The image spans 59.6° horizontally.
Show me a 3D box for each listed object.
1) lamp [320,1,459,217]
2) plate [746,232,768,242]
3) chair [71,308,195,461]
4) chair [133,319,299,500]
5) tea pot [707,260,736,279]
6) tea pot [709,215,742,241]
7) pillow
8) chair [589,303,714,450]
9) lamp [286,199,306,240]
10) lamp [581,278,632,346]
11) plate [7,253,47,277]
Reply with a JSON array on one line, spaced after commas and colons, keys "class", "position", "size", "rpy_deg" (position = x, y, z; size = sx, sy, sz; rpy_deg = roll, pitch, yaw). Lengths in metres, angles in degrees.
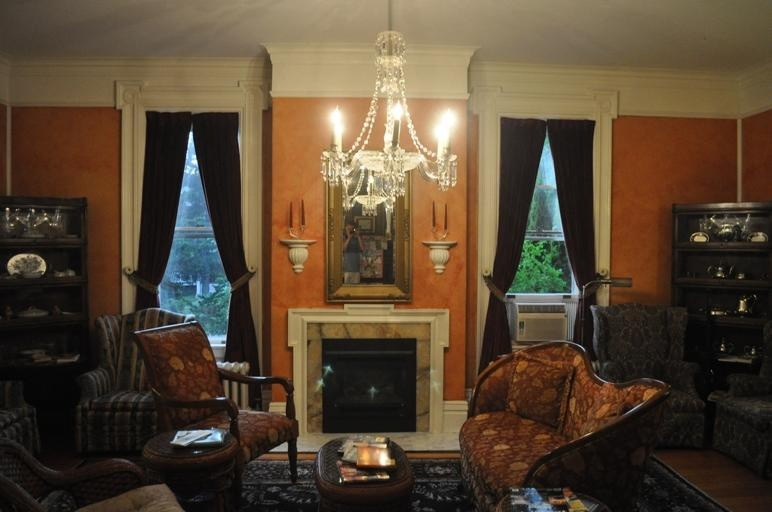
[{"class": "lamp", "position": [0.050, -1.585, 7.082], "size": [1.410, 2.276, 2.183], "rpy_deg": [-1, 3, -5]}, {"class": "plate", "position": [4.515, -0.223, 8.180], "size": [0.203, 0.125, 0.196], "rpy_deg": [1, 3, 22]}, {"class": "chair", "position": [-2.882, 1.418, 7.942], "size": [1.124, 1.573, 0.988], "rpy_deg": [3, -1, -1]}, {"class": "chair", "position": [-1.748, 1.566, 7.473], "size": [1.693, 2.437, 1.588], "rpy_deg": [-3, -2, 24]}, {"class": "tea pot", "position": [4.193, 0.177, 8.405], "size": [0.265, 0.186, 0.203], "rpy_deg": [-1, -3, 13]}, {"class": "tea pot", "position": [4.205, -0.343, 8.343], "size": [0.300, 0.419, 0.298], "rpy_deg": [-2, 2, 0]}, {"class": "pillow", "position": [1.495, 1.379, 6.806], "size": [0.620, 0.648, 0.192], "rpy_deg": [10, 0, 38]}, {"class": "chair", "position": [3.014, 1.369, 7.956], "size": [1.136, 1.560, 1.099], "rpy_deg": [-2, 1, 19]}, {"class": "lamp", "position": [-1.074, -0.442, 8.118], "size": [0.211, 0.461, 0.053], "rpy_deg": [-1, 3, -12]}, {"class": "lamp", "position": [2.798, 0.782, 8.646], "size": [0.584, 1.009, 0.564], "rpy_deg": [1, 5, 13]}, {"class": "plate", "position": [-4.255, 0.112, 7.988], "size": [0.404, 0.283, 0.154], "rpy_deg": [-2, 3, -27]}]
